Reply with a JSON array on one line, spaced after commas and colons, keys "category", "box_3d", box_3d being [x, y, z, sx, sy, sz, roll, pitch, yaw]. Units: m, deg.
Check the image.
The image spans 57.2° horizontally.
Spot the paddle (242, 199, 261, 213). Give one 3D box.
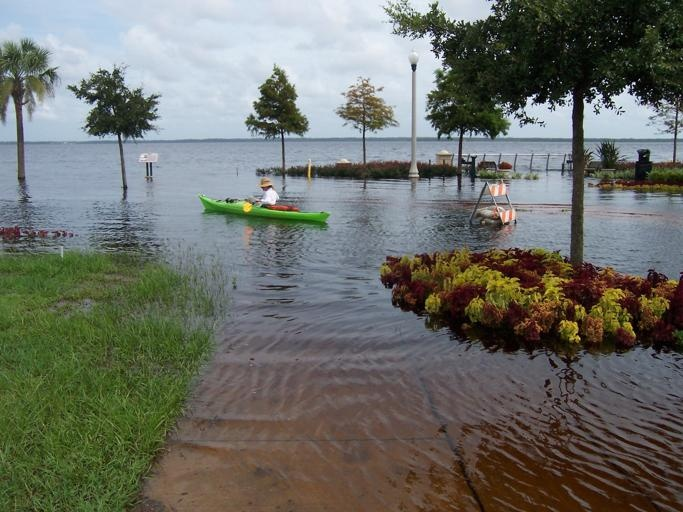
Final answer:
[{"category": "paddle", "box_3d": [-3.582, -1.920, 24.457, 0.360, 0.178, 0.559, 5, 34, 12]}]

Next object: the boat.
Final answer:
[{"category": "boat", "box_3d": [-3.148, -1.934, 25.670, 5.049, 0.944, 1.085, 11, 29, 19]}]
